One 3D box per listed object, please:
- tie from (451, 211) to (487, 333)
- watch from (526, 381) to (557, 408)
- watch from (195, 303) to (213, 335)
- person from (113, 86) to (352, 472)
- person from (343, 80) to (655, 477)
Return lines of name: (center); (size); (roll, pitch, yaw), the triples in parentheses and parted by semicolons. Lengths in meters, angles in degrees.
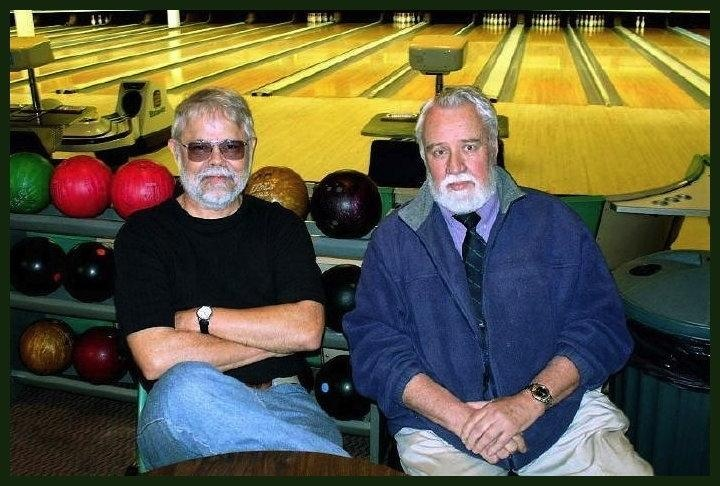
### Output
tie: (0.330, 0.088, 1.536); (0.073, 0.359, 0.065); (-11, -21, 20)
watch: (0.507, 0.418, 1.395); (0.076, 0.053, 0.080); (44, -7, 30)
watch: (-0.486, 0.235, 1.558); (0.058, 0.076, 0.083); (1, 14, -2)
person: (-0.396, 0.100, 1.542); (0.654, 1.154, 0.744); (-5, 14, -26)
person: (0.392, 0.224, 1.493); (0.880, 0.866, 0.507); (1, 13, -3)
